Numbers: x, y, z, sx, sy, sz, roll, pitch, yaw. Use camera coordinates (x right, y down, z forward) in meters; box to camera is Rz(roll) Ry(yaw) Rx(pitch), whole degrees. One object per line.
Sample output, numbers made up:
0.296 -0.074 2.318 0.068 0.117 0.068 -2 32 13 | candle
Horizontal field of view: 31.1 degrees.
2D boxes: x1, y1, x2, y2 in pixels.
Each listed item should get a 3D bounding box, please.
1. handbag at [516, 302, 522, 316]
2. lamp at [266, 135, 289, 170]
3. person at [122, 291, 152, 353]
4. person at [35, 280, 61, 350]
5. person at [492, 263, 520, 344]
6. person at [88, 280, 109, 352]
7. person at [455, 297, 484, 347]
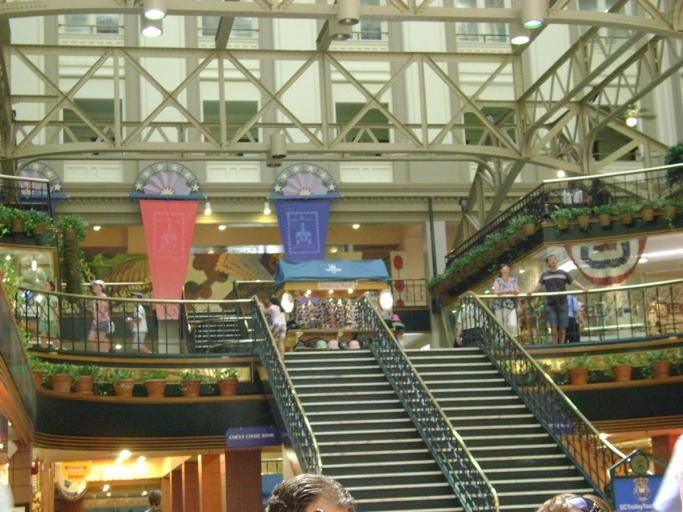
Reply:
3.961 1.151 26.948 0.171 0.230 0.062 10 3 25 | handbag
-1.443 -2.381 27.989 0.428 0.590 0.780 2 -26 -6 | lamp
-4.406 1.476 26.660 0.521 0.395 1.107 3 28 -8 | person
-5.897 1.310 25.030 0.296 1.174 0.754 -7 -6 12 | person
3.689 0.981 27.119 0.563 1.629 0.955 -6 -6 7 | person
-5.121 1.260 26.044 0.503 1.560 0.918 -4 -6 -10 | person
2.864 1.435 27.329 0.488 1.134 1.375 -5 -6 -3 | person
